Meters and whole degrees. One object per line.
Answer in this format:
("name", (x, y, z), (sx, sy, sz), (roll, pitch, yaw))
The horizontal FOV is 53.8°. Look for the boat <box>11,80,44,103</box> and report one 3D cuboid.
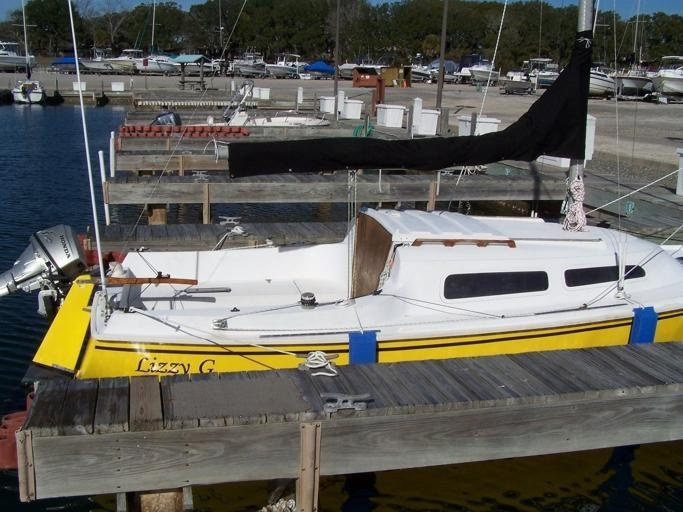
("boat", (-20.242, -10.728, 43.930), (1.633, 0.836, 2.466), (1, 15, -20))
